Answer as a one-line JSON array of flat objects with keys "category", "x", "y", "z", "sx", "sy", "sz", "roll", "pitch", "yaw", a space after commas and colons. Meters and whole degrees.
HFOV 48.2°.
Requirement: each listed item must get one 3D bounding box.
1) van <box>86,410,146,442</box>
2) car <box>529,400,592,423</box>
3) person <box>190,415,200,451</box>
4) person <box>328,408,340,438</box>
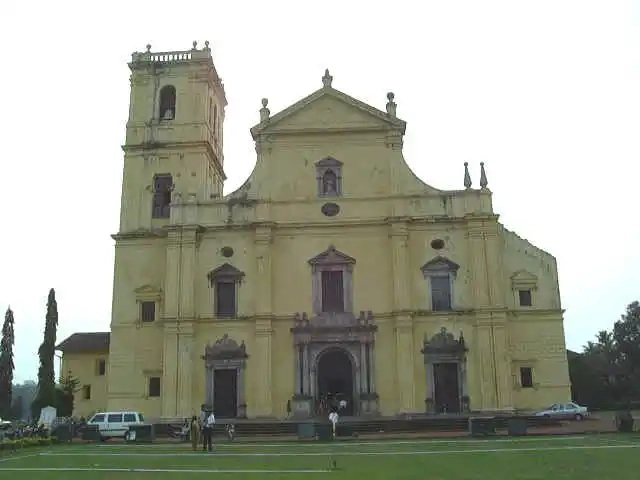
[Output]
[{"category": "van", "x": -11.774, "y": 10.530, "z": 40.989, "sx": 2.615, "sy": 1.425, "sz": 1.734, "roll": 2, "pitch": -19, "yaw": -3}, {"category": "car", "x": 14.938, "y": 10.752, "z": 44.851, "sx": 1.555, "sy": 1.166, "sz": 5.545, "roll": -17, "pitch": -24, "yaw": 38}, {"category": "person", "x": -5.858, "y": 9.009, "z": 33.565, "sx": 0.360, "sy": 1.584, "sz": 1.721, "roll": 1, "pitch": -18, "yaw": -9}, {"category": "person", "x": 0.735, "y": 9.970, "z": 38.491, "sx": 0.410, "sy": 1.390, "sz": 1.047, "roll": -1, "pitch": -17, "yaw": 0}]
